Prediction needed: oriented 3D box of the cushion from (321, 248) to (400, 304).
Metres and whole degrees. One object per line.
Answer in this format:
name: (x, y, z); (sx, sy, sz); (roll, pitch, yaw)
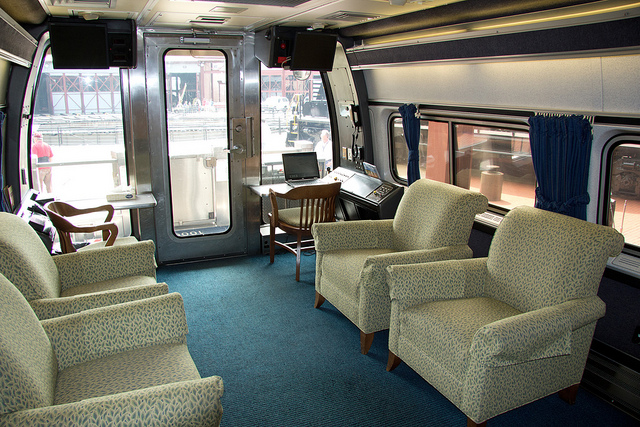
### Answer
cushion: (0.377, 0.607, 4.403); (0.552, 0.237, 0.587); (-3, 13, -27)

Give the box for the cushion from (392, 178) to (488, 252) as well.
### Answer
cushion: (1.298, 0.028, 4.565); (0.609, 0.776, 0.785); (-7, 21, -24)

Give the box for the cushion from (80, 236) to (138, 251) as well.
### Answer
cushion: (-2.333, 0.335, 4.592); (0.326, 0.087, 0.293); (-8, 14, -31)

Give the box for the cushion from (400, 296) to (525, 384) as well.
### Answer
cushion: (1.192, 0.958, 3.482); (0.638, 0.275, 0.678); (-14, 20, -26)

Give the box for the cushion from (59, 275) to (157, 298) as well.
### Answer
cushion: (-1.937, 0.662, 3.758); (0.785, 0.053, 0.279); (-5, 12, -17)

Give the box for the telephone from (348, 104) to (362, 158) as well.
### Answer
telephone: (0.530, -1.237, 6.268); (0.122, 0.799, 0.225); (-11, 16, -37)

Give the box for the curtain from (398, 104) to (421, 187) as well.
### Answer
curtain: (1.177, -0.897, 5.453); (0.289, 1.043, 0.171); (1, 13, 12)

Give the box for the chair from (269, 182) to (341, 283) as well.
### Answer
chair: (-0.211, 0.119, 5.894); (0.908, 1.320, 0.903); (16, 23, 38)

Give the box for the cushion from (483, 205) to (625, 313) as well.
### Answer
cushion: (1.958, 0.437, 3.545); (0.419, 0.804, 0.902); (-10, 15, -34)

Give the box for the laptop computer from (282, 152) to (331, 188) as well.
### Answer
laptop computer: (-0.203, -0.632, 6.103); (0.641, 0.419, 0.549); (-12, 24, -32)

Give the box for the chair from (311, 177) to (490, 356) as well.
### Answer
chair: (0.811, 0.446, 4.536); (1.550, 1.383, 1.713); (12, 19, 39)

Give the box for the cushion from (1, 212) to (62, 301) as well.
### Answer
cushion: (-2.378, 0.355, 3.379); (0.488, 0.592, 0.449); (18, 15, -29)

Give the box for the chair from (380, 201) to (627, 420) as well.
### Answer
chair: (1.544, 0.805, 3.907); (1.923, 1.677, 1.782); (-6, 16, -23)

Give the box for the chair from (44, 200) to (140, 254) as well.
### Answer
chair: (-2.748, 0.152, 4.915); (0.482, 0.667, 0.423); (-7, 23, -24)
